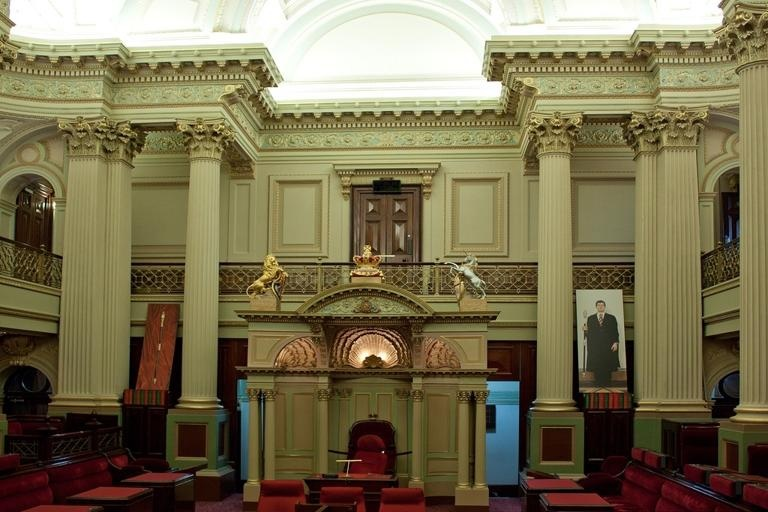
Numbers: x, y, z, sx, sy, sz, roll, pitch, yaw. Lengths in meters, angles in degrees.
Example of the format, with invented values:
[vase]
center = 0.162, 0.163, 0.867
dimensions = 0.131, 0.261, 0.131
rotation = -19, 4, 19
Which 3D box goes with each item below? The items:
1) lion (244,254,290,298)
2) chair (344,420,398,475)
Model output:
[lion]
center = -2.754, 0.442, 17.961
dimensions = 0.930, 0.979, 0.593
rotation = 3, 5, -5
[chair]
center = -0.254, 4.192, 17.072
dimensions = 1.095, 1.169, 0.663
rotation = 0, -9, -3
